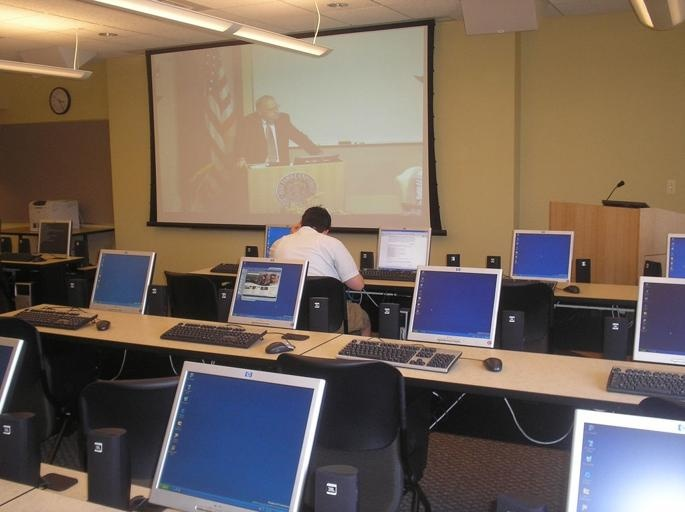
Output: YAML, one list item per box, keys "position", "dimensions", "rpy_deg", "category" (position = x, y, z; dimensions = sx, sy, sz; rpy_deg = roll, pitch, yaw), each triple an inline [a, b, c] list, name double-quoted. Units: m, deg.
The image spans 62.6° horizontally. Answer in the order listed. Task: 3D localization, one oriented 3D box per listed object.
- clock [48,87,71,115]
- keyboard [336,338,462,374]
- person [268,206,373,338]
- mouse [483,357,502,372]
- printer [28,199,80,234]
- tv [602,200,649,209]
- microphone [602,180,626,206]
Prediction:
- position: [-4.134, -2.291, 8.279]
  dimensions: [0.377, 0.388, 0.090]
  rpy_deg: [7, 7, 30]
  category: "clock"
- position: [0.287, 0.496, 2.862]
  dimensions: [0.596, 0.081, 0.329]
  rpy_deg: [2, 3, 17]
  category: "keyboard"
- position: [-0.216, 0.307, 4.218]
  dimensions: [0.771, 1.297, 0.679]
  rpy_deg: [1, -2, 21]
  category: "person"
- position: [0.719, 0.522, 2.717]
  dimensions: [0.098, 0.056, 0.103]
  rpy_deg: [3, 3, 27]
  category: "mouse"
- position: [-3.860, -0.530, 7.605]
  dimensions: [0.573, 0.418, 0.324]
  rpy_deg: [1, 1, 8]
  category: "printer"
- position: [2.391, -0.436, 4.810]
  dimensions: [0.320, 0.092, 0.529]
  rpy_deg: [3, 3, 22]
  category: "tv"
- position: [2.693, -0.628, 5.581]
  dimensions: [0.128, 0.084, 0.404]
  rpy_deg: [6, 46, 37]
  category: "microphone"
